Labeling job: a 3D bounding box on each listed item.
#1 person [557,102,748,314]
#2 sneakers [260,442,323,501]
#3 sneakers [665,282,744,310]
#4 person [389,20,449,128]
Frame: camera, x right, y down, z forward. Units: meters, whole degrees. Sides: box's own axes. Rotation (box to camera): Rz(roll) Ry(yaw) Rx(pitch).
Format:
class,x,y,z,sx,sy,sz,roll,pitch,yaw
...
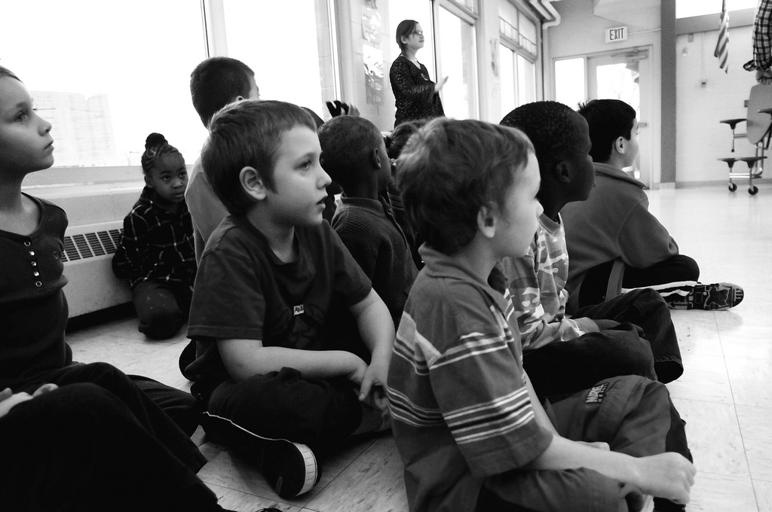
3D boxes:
class,x,y,z,sx,sy,sz,roll,pitch,yaw
person,0.936,-0.313,2.504,0.847,1.012,0.834,-5,14,-4
sneakers,-0.233,0.503,1.264,0.141,0.109,0.057,20,9,40
sneakers,1.359,0.170,2.239,0.229,0.085,0.101,0,12,19
person,0.261,-1.482,4.204,0.444,0.846,0.706,-2,14,3
